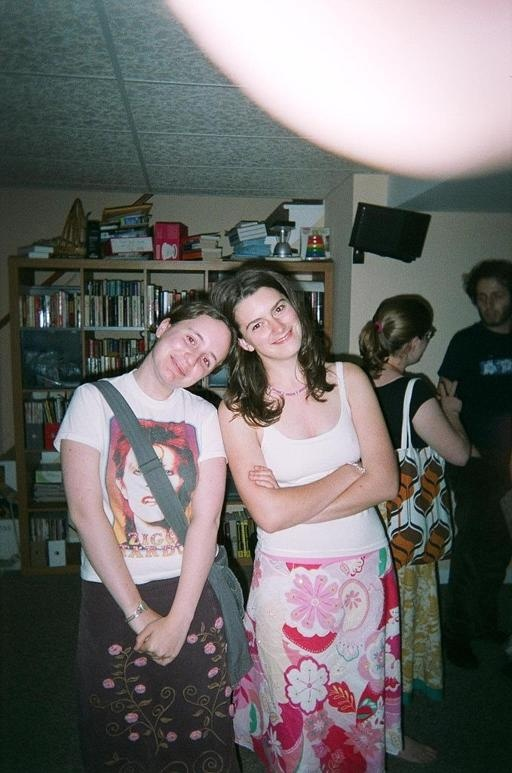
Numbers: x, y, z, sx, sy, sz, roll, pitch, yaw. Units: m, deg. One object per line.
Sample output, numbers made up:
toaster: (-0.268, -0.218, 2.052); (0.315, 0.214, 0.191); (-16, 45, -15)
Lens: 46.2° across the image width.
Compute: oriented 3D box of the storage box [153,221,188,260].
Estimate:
storage box: (-0.502, -0.845, 3.507); (0.119, 0.200, 0.211); (7, 16, 40)

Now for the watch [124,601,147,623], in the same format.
watch: (-0.287, 0.546, 1.442); (0.055, 0.028, 0.043); (-36, 10, -24)
